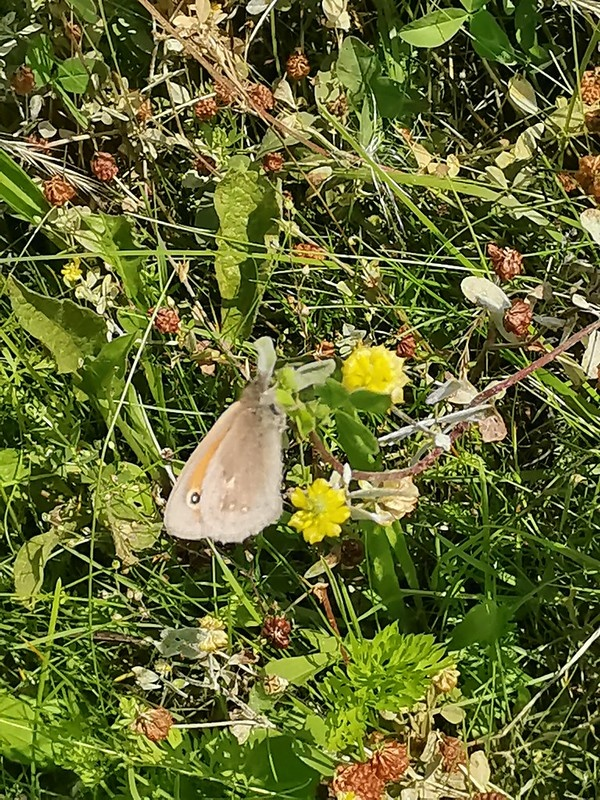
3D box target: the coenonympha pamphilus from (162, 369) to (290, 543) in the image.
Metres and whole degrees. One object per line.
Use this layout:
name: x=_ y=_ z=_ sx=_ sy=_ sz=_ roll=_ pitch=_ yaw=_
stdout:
coenonympha pamphilus: x=-0.081 y=0.097 z=0.853 sx=0.121 sy=0.196 sz=0.203 roll=39 pitch=75 yaw=13
